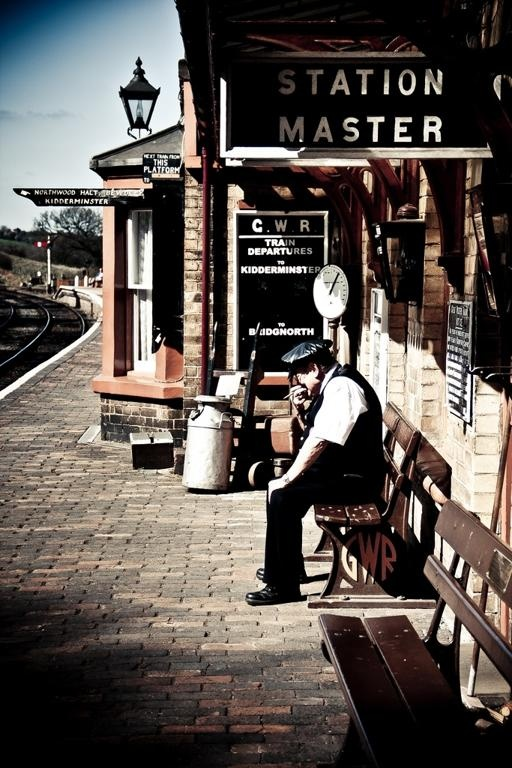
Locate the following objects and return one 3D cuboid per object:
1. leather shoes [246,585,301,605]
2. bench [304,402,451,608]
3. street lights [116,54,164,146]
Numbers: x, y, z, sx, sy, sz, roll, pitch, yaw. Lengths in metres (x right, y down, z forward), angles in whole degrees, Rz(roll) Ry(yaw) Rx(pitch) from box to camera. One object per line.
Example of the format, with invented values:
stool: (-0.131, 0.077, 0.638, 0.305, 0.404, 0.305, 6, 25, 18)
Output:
leather shoes: (0.112, 1.269, 4.577, 0.337, 0.167, 0.125, 7, -8, -22)
bench: (0.719, 0.633, 5.199, 0.657, 1.048, 1.732, -1, 10, 5)
street lights: (-1.746, -4.257, 11.506, 0.607, 1.350, 0.644, 2, 7, 9)
